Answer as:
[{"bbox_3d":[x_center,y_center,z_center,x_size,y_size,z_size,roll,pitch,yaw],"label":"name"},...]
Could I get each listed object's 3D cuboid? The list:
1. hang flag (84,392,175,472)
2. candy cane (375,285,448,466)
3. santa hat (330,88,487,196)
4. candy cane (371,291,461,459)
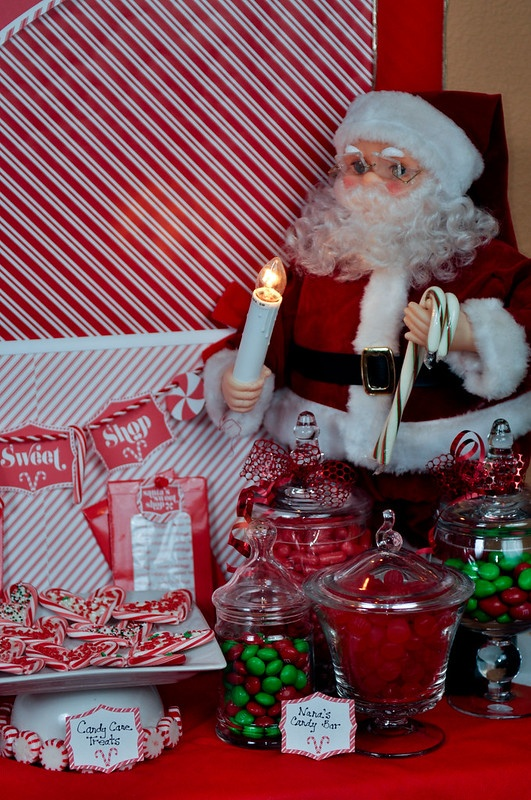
[{"bbox_3d":[-0.268,0.063,1.514,0.171,0.144,0.068,-12,22,-24],"label":"hang flag"},{"bbox_3d":[0.250,-0.016,1.283,0.096,0.369,0.234,9,24,11],"label":"candy cane"},{"bbox_3d":[0.318,-0.502,1.502,0.340,0.174,0.253,6,27,23],"label":"santa hat"},{"bbox_3d":[0.231,-0.038,1.241,0.130,0.264,0.126,19,31,38],"label":"candy cane"}]
